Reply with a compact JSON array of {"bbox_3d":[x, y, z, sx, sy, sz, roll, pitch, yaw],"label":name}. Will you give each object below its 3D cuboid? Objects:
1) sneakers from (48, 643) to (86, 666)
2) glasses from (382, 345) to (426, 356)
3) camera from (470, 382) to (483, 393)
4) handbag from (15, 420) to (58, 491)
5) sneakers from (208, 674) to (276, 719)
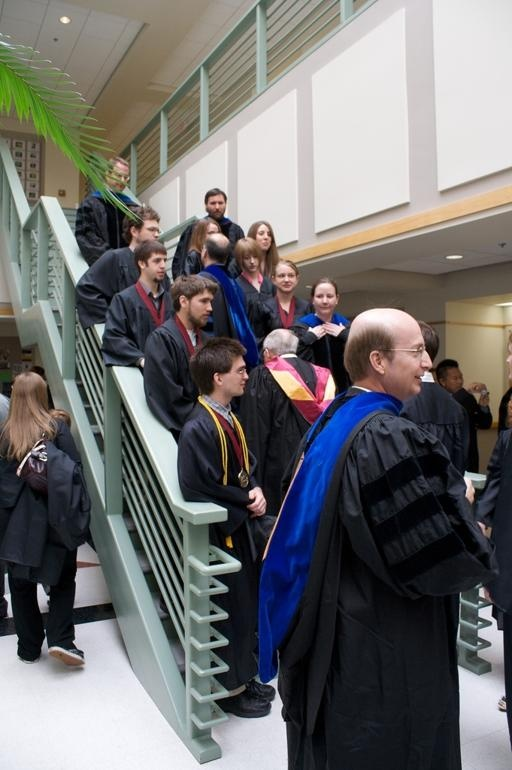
[{"bbox_3d":[-0.898,1.276,2.814,0.165,0.078,0.096,21,37,3],"label":"sneakers"},{"bbox_3d":[0.356,-0.078,1.372,0.108,0.021,0.045,1,0,-41],"label":"glasses"},{"bbox_3d":[1.714,0.019,4.661,0.091,0.052,0.190,1,0,15],"label":"camera"},{"bbox_3d":[-0.986,0.348,2.793,0.077,0.165,0.217,-9,37,32],"label":"handbag"},{"bbox_3d":[-0.033,1.331,2.564,0.349,0.151,0.109,-3,10,-5],"label":"sneakers"}]
